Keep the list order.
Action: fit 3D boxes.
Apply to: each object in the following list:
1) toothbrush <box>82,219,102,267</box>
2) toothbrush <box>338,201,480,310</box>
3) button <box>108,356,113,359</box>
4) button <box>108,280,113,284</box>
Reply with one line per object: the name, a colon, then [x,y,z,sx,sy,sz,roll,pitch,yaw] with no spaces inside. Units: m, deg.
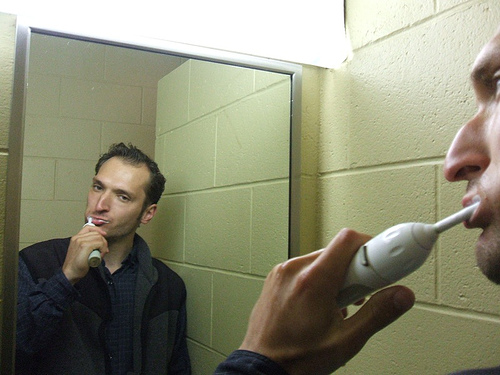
toothbrush: [-0.333,0.117,0.840,0.027,0.092,0.092,2,-13,-11]
toothbrush: [0.175,0.138,0.641,0.077,0.065,0.329,30,-50,-31]
button: [-0.285,0.342,0.818,0.009,0.008,0.002,3,-1,-16]
button: [-0.292,0.196,0.840,0.008,0.008,0.003,34,-13,-15]
